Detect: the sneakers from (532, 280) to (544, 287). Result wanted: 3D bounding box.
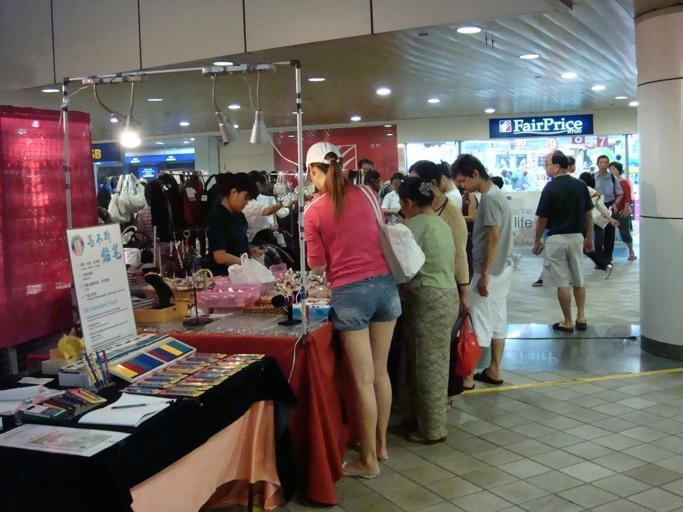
[{"bbox_3d":[3.319,0.449,8.615,0.090,0.107,0.248,-5,-4,40],"label":"sneakers"}]

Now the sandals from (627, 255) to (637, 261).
[{"bbox_3d":[5.918,0.025,10.400,0.058,0.048,0.151,5,-26,-22],"label":"sandals"}]

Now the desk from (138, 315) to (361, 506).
[{"bbox_3d":[-0.254,0.795,3.120,1.009,0.603,1.022,0,0,20],"label":"desk"}]

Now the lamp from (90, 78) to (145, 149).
[{"bbox_3d":[-1.615,-1.048,3.716,0.303,0.494,0.250,-17,37,-33],"label":"lamp"}]

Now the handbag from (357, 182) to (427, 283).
[{"bbox_3d":[0.269,-0.172,3.174,0.359,0.664,0.287,-10,9,45],"label":"handbag"}]

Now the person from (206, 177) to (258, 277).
[{"bbox_3d":[-0.909,-0.277,4.223,0.420,0.824,0.995,-4,8,-11],"label":"person"}]

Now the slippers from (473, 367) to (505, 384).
[{"bbox_3d":[1.311,1.063,4.616,0.290,0.119,0.106,4,5,40],"label":"slippers"}]

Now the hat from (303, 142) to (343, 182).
[{"bbox_3d":[-0.139,-0.626,3.343,0.252,0.193,0.412,2,4,-8],"label":"hat"}]

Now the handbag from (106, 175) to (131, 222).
[{"bbox_3d":[-3.777,-1.009,8.696,0.289,0.730,0.313,13,12,9],"label":"handbag"}]

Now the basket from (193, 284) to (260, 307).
[{"bbox_3d":[-0.724,0.260,3.324,0.384,0.125,0.215,-2,8,5],"label":"basket"}]

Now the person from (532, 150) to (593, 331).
[{"bbox_3d":[2.580,-0.179,5.864,0.659,2.073,0.474,-1,8,10],"label":"person"}]
